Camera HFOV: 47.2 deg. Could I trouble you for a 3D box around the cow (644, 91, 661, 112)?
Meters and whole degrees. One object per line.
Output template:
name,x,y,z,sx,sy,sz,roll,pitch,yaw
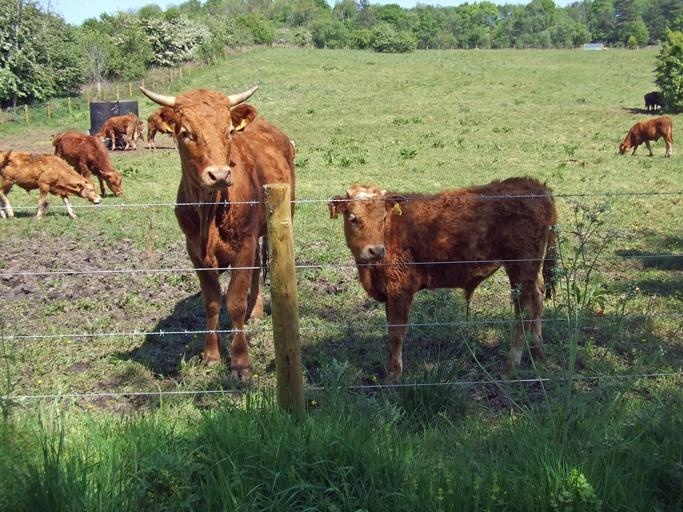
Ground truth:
cow,13.865,-6.821,34.469,1.374,0.817,0.601,-9,10,-41

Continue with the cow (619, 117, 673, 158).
cow,10.341,-3.995,26.064,1.334,1.328,2.279,5,11,43

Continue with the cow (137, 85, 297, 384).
cow,-1.476,-0.612,13.500,2.159,4.376,6.077,0,8,9
